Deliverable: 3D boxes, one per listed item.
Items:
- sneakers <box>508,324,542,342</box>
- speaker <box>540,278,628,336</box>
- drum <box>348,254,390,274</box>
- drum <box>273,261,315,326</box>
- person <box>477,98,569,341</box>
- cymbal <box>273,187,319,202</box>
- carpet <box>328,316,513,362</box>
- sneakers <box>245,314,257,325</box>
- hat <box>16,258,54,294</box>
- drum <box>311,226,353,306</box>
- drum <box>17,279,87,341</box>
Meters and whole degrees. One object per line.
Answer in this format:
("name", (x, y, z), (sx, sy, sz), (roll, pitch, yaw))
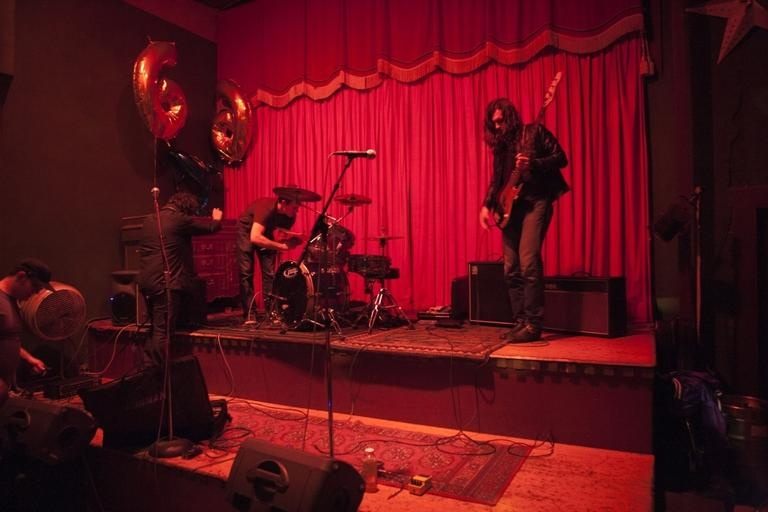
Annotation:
("sneakers", (1.431, 0.780, 6.214), (0.306, 0.138, 0.168), (7, -7, -17))
("speaker", (2.136, 0.509, 6.619), (0.971, 0.906, 0.541), (-3, -4, 40))
("drum", (-0.174, 0.092, 7.103), (0.489, 0.235, 0.262), (3, -4, 0))
("drum", (-0.986, 0.412, 6.895), (0.189, 0.587, 0.507), (6, -27, -39))
("person", (1.423, -0.378, 6.303), (0.875, 2.477, 0.625), (2, -3, 18))
("cymbal", (-0.988, -0.720, 7.134), (0.520, 0.156, 0.444), (3, -4, 1))
("carpet", (0.387, 0.952, 6.590), (1.664, 0.166, 1.867), (1, -1, -7))
("sneakers", (-1.613, 0.766, 7.492), (0.106, 0.080, 0.106), (2, -4, -39))
("hat", (-3.373, 0.169, 6.034), (0.326, 0.197, 0.230), (39, -16, -34))
("drum", (-0.566, 0.106, 6.701), (0.286, 0.583, 0.706), (0, 32, -22))
("drum", (-3.659, 0.525, 6.972), (0.668, 0.752, 0.694), (10, 12, 41))
